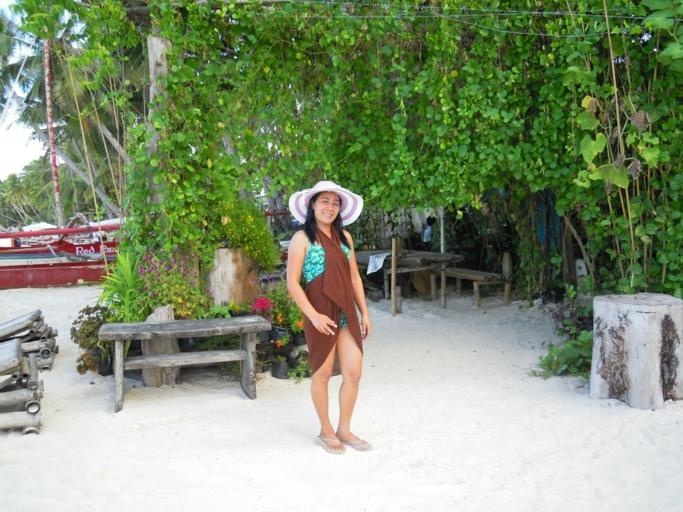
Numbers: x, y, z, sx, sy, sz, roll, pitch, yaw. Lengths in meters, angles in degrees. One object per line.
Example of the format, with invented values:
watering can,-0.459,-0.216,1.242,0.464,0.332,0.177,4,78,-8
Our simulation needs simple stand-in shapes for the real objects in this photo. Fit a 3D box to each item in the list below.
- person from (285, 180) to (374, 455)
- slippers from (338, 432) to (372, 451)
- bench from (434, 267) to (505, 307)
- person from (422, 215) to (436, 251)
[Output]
person,-0.070,0.536,6.421,0.824,2.442,0.854,5,11,27
slippers,0.110,1.731,6.454,0.359,0.175,0.129,0,6,31
bench,2.604,0.502,13.191,1.238,0.669,2.079,3,11,14
person,1.959,-0.497,15.403,0.295,0.924,1.146,1,11,7
